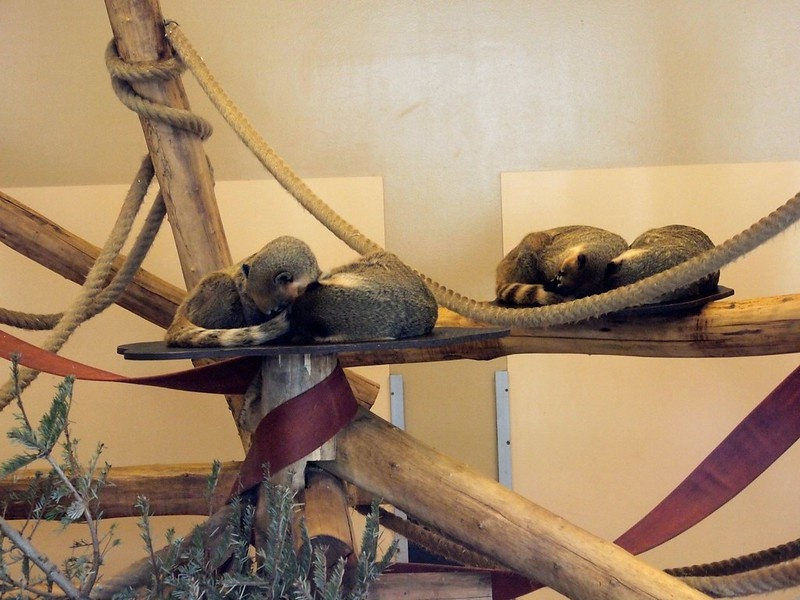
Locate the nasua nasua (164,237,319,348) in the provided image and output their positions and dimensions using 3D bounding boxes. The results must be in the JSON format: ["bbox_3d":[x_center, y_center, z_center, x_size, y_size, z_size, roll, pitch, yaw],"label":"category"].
[{"bbox_3d":[-0.557,-0.049,6.290,0.450,0.596,0.499,-4,-77,-34],"label":"nasua nasua"}]

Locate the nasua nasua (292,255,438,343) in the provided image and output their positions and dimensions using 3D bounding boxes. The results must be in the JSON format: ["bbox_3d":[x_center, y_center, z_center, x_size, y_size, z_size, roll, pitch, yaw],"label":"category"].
[{"bbox_3d":[-0.092,0.013,6.202,0.361,0.621,0.374,6,-80,27],"label":"nasua nasua"}]
